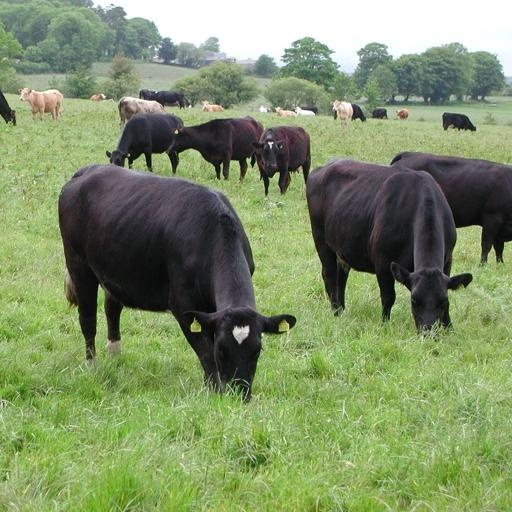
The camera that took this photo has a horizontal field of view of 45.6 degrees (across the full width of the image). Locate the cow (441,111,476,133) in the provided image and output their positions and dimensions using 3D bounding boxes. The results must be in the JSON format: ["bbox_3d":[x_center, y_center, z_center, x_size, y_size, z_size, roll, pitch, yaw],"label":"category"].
[{"bbox_3d":[14.110,-9.384,42.245,2.085,1.118,3.690,4,13,16],"label":"cow"}]

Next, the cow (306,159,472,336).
[{"bbox_3d":[1.629,-0.042,7.560,0.990,2.051,3.462,-1,9,-15],"label":"cow"}]

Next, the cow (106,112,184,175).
[{"bbox_3d":[-3.099,-3.266,17.804,0.795,1.810,3.030,11,17,33],"label":"cow"}]

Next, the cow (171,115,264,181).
[{"bbox_3d":[-0.961,-3.107,17.895,3.434,2.240,1.106,-15,27,-34],"label":"cow"}]

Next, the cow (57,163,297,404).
[{"bbox_3d":[-0.789,0.193,5.307,0.780,1.813,2.587,-9,15,-41],"label":"cow"}]

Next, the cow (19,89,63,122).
[{"bbox_3d":[-8.765,-6.218,24.871,1.476,1.221,3.141,-4,13,-20],"label":"cow"}]
